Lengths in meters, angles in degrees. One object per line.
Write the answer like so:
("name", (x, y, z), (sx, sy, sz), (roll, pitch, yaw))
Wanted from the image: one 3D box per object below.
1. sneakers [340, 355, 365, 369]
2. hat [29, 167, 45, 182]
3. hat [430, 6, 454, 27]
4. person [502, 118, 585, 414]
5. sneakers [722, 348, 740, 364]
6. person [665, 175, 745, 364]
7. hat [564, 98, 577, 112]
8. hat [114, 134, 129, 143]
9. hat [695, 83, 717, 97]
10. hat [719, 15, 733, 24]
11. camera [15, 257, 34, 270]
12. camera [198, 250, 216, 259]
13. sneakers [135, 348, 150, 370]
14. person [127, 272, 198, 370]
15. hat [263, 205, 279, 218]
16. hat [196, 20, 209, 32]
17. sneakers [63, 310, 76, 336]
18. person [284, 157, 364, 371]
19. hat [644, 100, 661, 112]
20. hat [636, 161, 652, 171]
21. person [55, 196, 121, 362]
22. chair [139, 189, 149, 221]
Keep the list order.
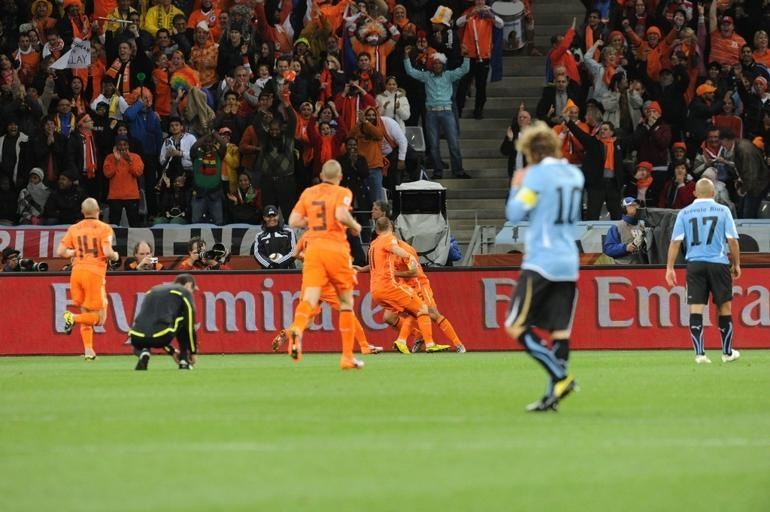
("sneakers", (-0.578, 1.826, 24.776), (0.392, 0.254, 0.193), (-5, 9, -11))
("hat", (-7.603, -1.789, 31.217), (0.249, 0.297, 0.305), (1, -24, 1))
("hat", (1.345, -5.596, 33.433), (0.554, 0.290, 0.441), (18, 29, 15))
("person", (2.342, 0.170, 21.093), (1.136, 4.281, 0.429), (-3, 5, -19))
("sneakers", (6.160, 1.766, 25.467), (0.221, 0.150, 0.301), (-6, -7, 33))
("person", (5.634, 0.250, 25.318), (1.182, 3.255, 0.578), (-1, 5, 12))
("hat", (4.019, -3.281, 31.050), (0.233, 0.164, 0.321), (-2, -1, 6))
("hat", (-5.759, -2.561, 31.210), (0.194, 0.122, 0.195), (0, 0, 29))
("hat", (7.116, -3.709, 31.818), (0.373, 0.196, 0.269), (-11, 16, 1))
("hat", (7.957, -5.485, 33.297), (0.194, 0.143, 0.273), (0, 5, 27))
("camera", (-7.359, 0.168, 29.309), (0.251, 0.240, 0.234), (2, -37, -14))
("camera", (-3.578, -0.045, 28.816), (0.317, 0.152, 0.067), (-3, 5, -12))
("sneakers", (-4.276, 1.834, 25.202), (0.189, 0.490, 0.223), (4, 45, -8))
("person", (-3.883, 1.126, 25.235), (1.187, 1.602, 1.162), (3, -6, 16))
("hat", (-2.294, -0.897, 28.667), (0.273, 0.227, 0.405), (-1, 2, -4))
("hat", (-4.265, -5.344, 33.332), (0.255, 0.332, 0.279), (-2, 10, -8))
("sneakers", (-6.053, 1.238, 27.336), (0.191, 0.511, 0.240), (15, 14, 39))
("person", (-1.024, 0.156, 24.451), (1.150, 3.550, 0.945), (-2, 5, -7))
("hat", (5.920, -3.314, 31.731), (0.252, 0.230, 0.356), (5, -15, 9))
("hat", (5.656, -1.964, 31.179), (0.270, 0.216, 0.317), (0, 5, 19))
("person", (-5.562, 0.426, 26.767), (1.008, 2.995, 0.531), (-3, 5, -14))
("chair", (-5.450, -1.147, 32.034), (0.139, 0.694, 0.263), (-1, 5, 13))
